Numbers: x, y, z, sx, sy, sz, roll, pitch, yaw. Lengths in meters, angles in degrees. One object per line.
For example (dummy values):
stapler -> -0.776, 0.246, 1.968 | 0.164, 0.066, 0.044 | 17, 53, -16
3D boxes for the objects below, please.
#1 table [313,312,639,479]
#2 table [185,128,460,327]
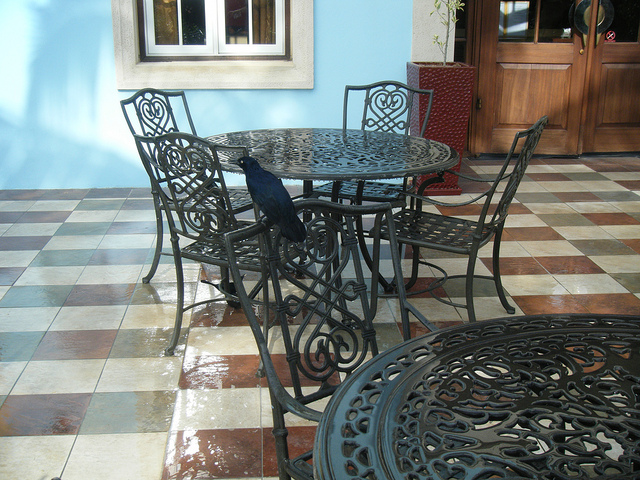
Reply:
table -> 0.409, 0.345, 1.244 | 0.708, 0.094, 0.655 | 2, 20, 15
table -> 0.054, -0.070, 3.350 | 1.929, 0.746, 1.388 | -2, 19, -8
